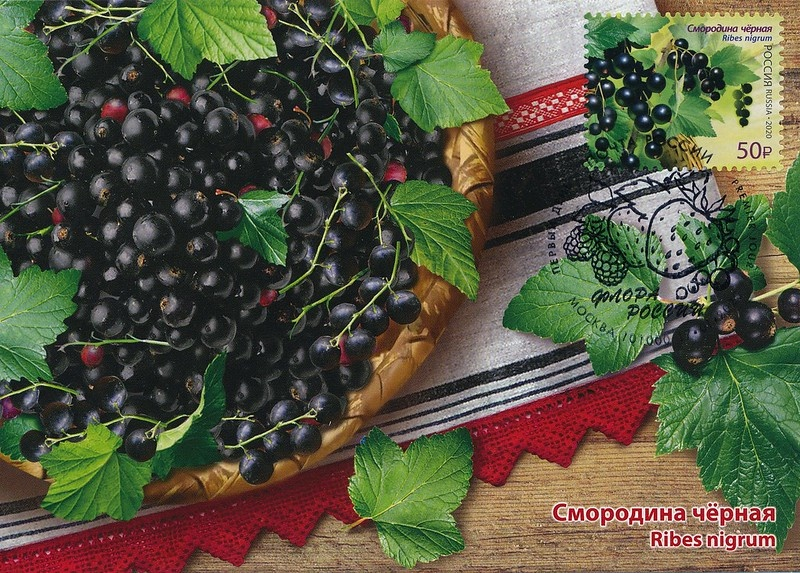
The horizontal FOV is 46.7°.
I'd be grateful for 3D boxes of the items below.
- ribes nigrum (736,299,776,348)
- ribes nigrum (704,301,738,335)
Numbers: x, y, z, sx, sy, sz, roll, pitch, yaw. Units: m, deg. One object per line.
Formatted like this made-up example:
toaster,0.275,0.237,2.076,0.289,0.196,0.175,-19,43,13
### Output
ribes nigrum,0.592,0.062,1.541,0.050,0.058,0.049,-20,35,7
ribes nigrum,0.533,0.049,1.537,0.046,0.049,0.046,10,54,37
